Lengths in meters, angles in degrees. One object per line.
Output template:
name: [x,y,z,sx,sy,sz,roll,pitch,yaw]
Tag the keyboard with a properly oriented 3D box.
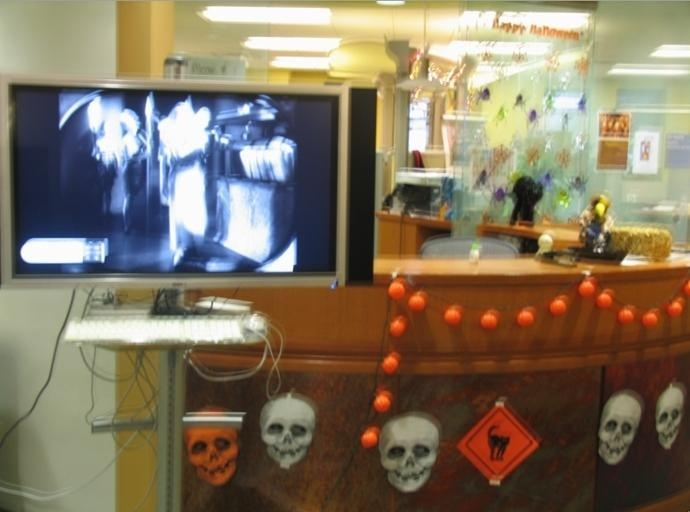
keyboard: [-0.775,0.306,2.949,0.730,0.115,0.130,-3,10,-5]
